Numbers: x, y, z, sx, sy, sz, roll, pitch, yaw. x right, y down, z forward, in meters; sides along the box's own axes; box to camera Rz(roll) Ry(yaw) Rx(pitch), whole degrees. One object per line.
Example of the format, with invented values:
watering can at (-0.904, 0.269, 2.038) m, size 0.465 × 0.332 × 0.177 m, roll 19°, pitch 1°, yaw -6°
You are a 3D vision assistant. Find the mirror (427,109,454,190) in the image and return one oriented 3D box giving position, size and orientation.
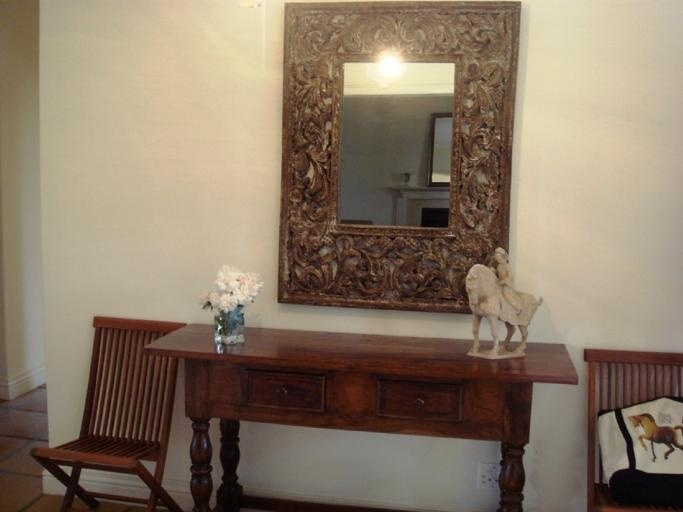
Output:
mirror at (0.639, -0.658, 4.009) m, size 0.214 × 0.455 × 0.021 m, roll -5°, pitch 14°, yaw -26°

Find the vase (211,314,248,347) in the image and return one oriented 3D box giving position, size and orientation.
vase at (-0.682, 0.432, 3.897) m, size 0.168 × 0.204 × 0.174 m, roll 0°, pitch -1°, yaw -31°

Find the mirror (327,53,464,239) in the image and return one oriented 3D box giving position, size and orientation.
mirror at (0.370, -0.721, 4.019) m, size 0.977 × 1.561 × 0.061 m, roll 2°, pitch 5°, yaw 6°

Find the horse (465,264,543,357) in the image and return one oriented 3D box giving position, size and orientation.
horse at (0.949, 0.317, 3.774) m, size 0.516 × 0.551 × 0.192 m, roll 3°, pitch 4°, yaw -18°

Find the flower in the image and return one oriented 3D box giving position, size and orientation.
flower at (-0.646, 0.204, 3.905) m, size 0.293 × 0.278 × 0.213 m, roll 0°, pitch 2°, yaw -42°
